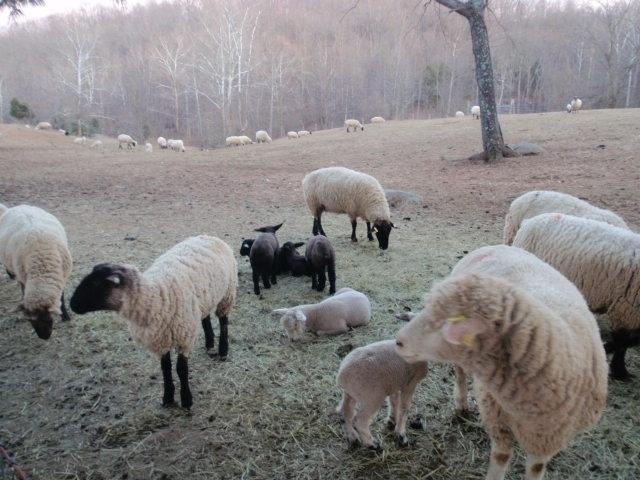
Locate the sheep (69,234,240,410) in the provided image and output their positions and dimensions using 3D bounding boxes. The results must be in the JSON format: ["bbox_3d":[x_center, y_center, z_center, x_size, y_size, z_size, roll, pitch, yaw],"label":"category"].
[{"bbox_3d":[-1.847,0.984,7.288,0.991,2.141,2.637,5,19,22],"label":"sheep"}]
